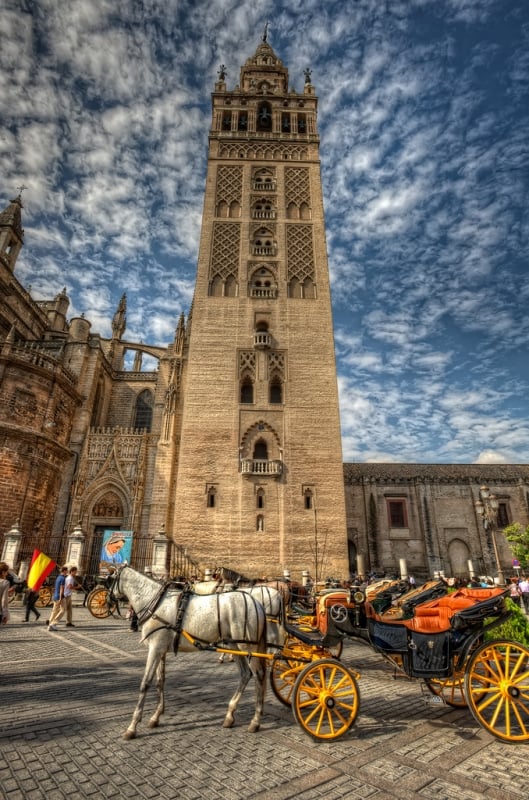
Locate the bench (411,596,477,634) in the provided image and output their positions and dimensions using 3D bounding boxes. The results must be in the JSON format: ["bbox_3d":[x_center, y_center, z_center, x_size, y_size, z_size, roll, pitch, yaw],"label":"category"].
[{"bbox_3d":[2.134,2.663,4.565,0.756,0.305,0.454,10,-34,-21],"label":"bench"}]
